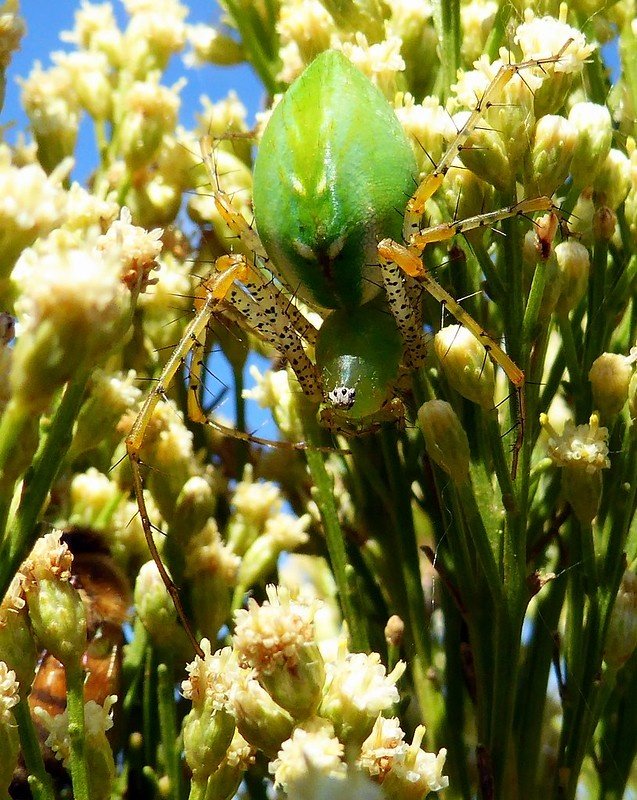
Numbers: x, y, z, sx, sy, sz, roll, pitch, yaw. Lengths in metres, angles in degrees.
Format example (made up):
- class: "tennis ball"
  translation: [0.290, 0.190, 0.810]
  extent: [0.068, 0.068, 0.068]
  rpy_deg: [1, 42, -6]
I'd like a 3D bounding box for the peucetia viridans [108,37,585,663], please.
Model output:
- class: "peucetia viridans"
  translation: [0.023, 0.078, 1.093]
  extent: [0.338, 0.737, 0.208]
  rpy_deg: [-6, -19, 17]
